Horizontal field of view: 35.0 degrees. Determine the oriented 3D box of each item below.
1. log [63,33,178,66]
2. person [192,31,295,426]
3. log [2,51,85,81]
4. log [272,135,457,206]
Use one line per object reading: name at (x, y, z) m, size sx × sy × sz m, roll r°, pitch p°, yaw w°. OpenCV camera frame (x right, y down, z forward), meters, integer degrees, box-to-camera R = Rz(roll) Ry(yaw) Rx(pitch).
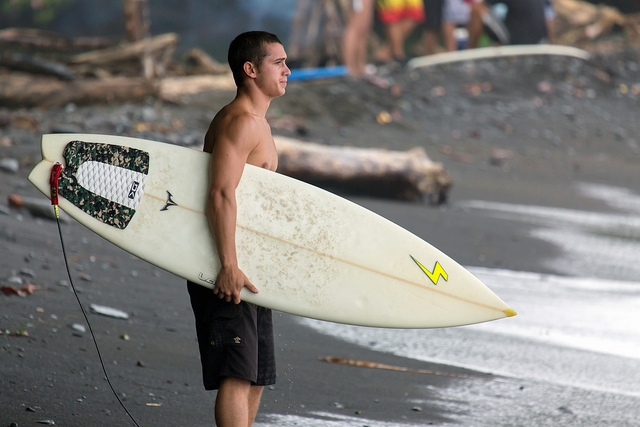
log at (-1.312, -1.076, 6.667) m, size 0.745 × 0.062 × 0.088 m, roll -11°, pitch 1°, yaw 3°
person at (-0.450, 0.098, 5.581) m, size 0.467 × 2.066 × 0.972 m, roll 3°, pitch 22°, yaw -4°
log at (-1.754, -0.942, 6.703) m, size 0.692 × 0.134 × 0.126 m, roll 7°, pitch -13°, yaw -6°
log at (0.309, -0.253, 6.795) m, size 1.138 × 0.334 × 0.509 m, roll -1°, pitch -6°, yaw -1°
